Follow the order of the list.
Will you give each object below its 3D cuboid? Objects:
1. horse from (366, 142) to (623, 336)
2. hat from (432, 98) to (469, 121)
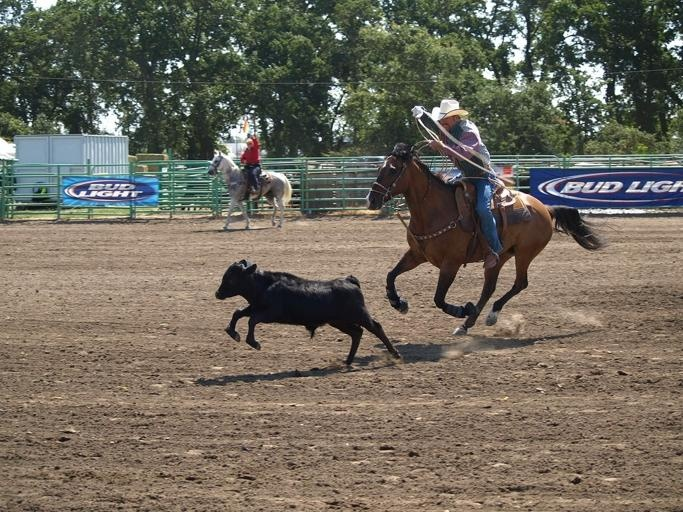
[{"bbox_3d":[2.439,-0.328,21.269,4.032,3.498,0.951,-3,4,-32],"label":"horse"},{"bbox_3d":[2.060,-2.722,21.187,0.558,0.184,0.641,-1,2,42],"label":"hat"}]
